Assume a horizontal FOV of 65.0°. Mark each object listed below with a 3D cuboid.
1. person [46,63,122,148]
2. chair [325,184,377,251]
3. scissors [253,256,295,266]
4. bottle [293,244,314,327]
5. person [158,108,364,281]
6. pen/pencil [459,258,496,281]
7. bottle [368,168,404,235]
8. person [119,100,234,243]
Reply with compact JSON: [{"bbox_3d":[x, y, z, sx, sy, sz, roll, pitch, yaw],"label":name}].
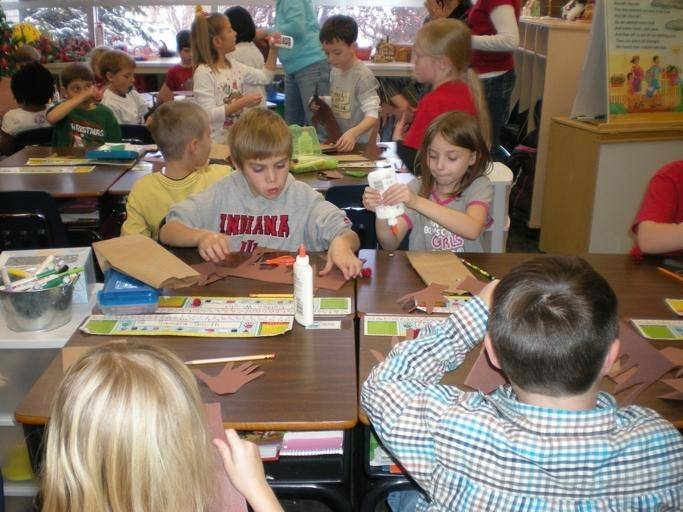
[{"bbox_3d":[-1.856,-1.084,3.827,0.453,0.567,0.748,-13,21,-26],"label":"person"},{"bbox_3d":[0.067,-0.187,2.570,0.257,0.453,0.299,-2,24,-1],"label":"chair"},{"bbox_3d":[-0.224,0.014,1.901,0.104,0.022,0.049,-2,19,-5],"label":"scissors"},{"bbox_3d":[-0.111,0.076,1.569,0.059,0.248,0.104,-5,19,-5],"label":"bottle"},{"bbox_3d":[-0.350,-0.246,2.248,0.757,0.903,0.570,-3,31,-16],"label":"person"},{"bbox_3d":[0.466,0.049,1.830,0.014,0.015,0.134,-35,38,-13],"label":"pen/pencil"},{"bbox_3d":[0.182,-0.200,1.971,0.107,0.241,0.049,-4,22,19],"label":"bottle"},{"bbox_3d":[-0.806,-0.317,2.743,0.635,0.940,0.339,-6,38,-19],"label":"person"}]
